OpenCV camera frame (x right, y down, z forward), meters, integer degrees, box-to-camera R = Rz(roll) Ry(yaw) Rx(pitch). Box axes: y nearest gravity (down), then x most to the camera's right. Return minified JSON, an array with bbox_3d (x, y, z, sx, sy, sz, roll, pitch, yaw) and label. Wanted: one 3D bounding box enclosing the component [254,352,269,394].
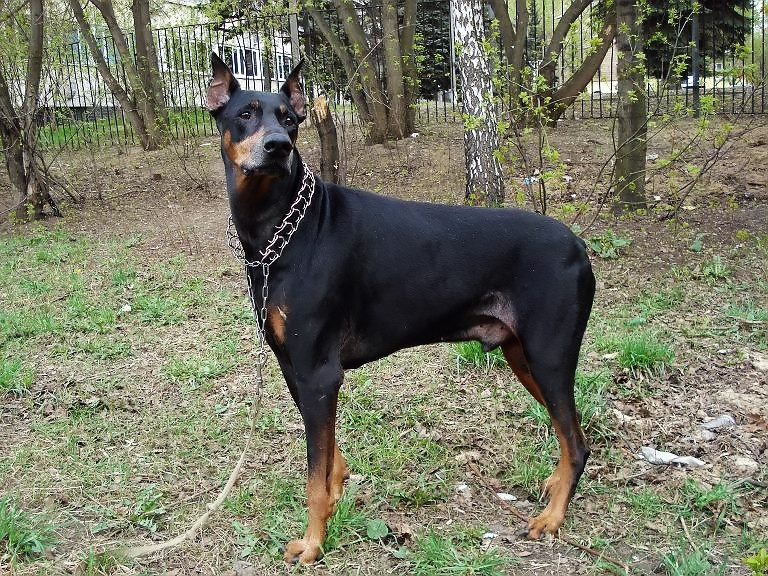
[{"bbox_3d":[-0.795,0.571,4.290,0.088,0.332,0.047,2,2,0],"label":"component"}]
